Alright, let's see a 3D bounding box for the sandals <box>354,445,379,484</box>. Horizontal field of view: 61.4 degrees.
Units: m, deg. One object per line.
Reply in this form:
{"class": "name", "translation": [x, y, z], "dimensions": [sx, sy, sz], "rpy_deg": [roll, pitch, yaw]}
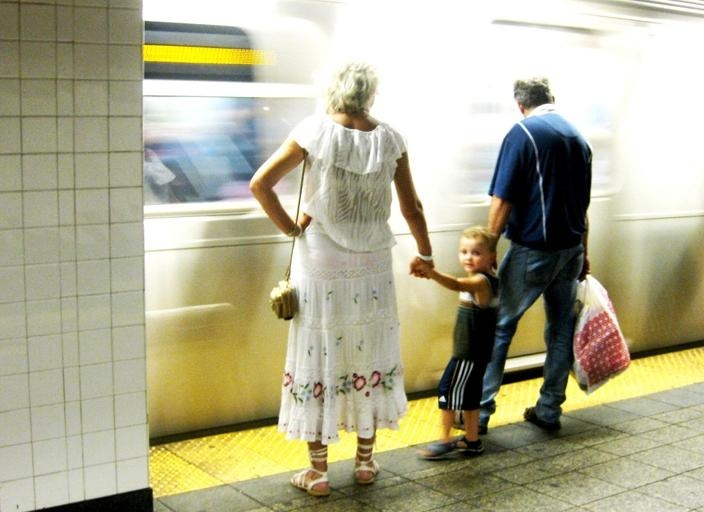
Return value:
{"class": "sandals", "translation": [0.081, 1.273, 3.620], "dimensions": [0.118, 0.178, 0.272], "rpy_deg": [0, 3, 7]}

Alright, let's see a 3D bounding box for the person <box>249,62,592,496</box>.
{"class": "person", "translation": [-0.057, 0.153, 3.457], "dimensions": [1.007, 2.491, 0.250], "rpy_deg": [-3, 7, -20]}

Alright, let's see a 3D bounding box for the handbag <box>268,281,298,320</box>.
{"class": "handbag", "translation": [-0.390, 0.250, 3.369], "dimensions": [0.151, 0.211, 0.160], "rpy_deg": [-2, 1, -8]}

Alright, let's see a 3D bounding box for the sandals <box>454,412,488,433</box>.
{"class": "sandals", "translation": [0.866, 1.220, 4.384], "dimensions": [0.107, 0.111, 0.289], "rpy_deg": [0, 7, -3]}

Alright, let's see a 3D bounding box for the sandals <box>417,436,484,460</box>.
{"class": "sandals", "translation": [0.679, 1.291, 4.054], "dimensions": [0.431, 0.176, 0.152], "rpy_deg": [1, -1, -13]}

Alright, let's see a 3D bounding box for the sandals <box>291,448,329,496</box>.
{"class": "sandals", "translation": [-0.257, 1.274, 3.586], "dimensions": [0.150, 0.287, 0.301], "rpy_deg": [6, -6, -44]}

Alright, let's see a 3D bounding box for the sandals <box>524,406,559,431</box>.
{"class": "sandals", "translation": [1.430, 1.209, 4.487], "dimensions": [0.098, 0.101, 0.246], "rpy_deg": [-1, 16, -26]}
